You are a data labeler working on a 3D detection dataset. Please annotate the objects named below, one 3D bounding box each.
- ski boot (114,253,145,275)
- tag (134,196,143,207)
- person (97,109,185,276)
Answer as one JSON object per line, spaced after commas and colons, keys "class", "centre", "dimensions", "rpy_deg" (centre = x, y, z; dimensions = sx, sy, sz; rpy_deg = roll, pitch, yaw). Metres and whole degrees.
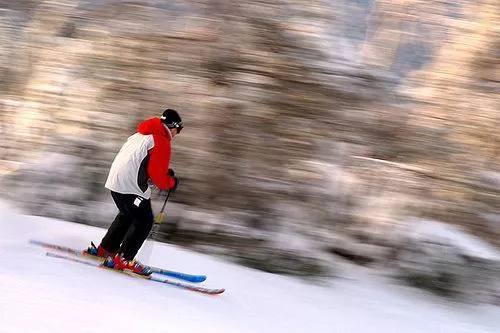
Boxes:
{"class": "ski boot", "centre": [-2.086, 1.720, 10.665], "dimensions": [0.750, 0.260, 0.250], "rpy_deg": [22, -24, -33]}
{"class": "tag", "centre": [-1.881, 0.597, 10.504], "dimensions": [0.154, 0.138, 0.036], "rpy_deg": [36, -1, -2]}
{"class": "person", "centre": [-1.858, 0.404, 10.590], "dimensions": [1.240, 2.920, 0.375], "rpy_deg": [24, 4, -10]}
